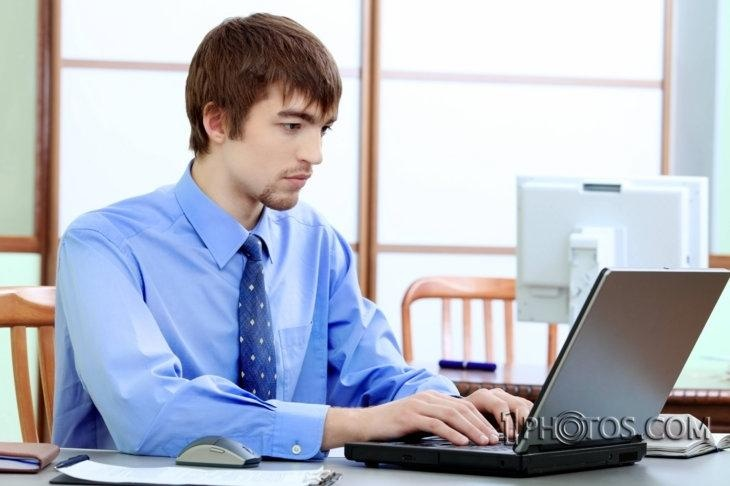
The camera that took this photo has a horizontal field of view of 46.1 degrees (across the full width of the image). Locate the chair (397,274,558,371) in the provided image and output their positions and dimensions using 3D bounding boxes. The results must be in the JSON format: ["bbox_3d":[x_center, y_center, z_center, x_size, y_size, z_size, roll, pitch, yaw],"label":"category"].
[{"bbox_3d":[0.414,0.235,3.281,0.462,0.592,0.375,0,-11,0],"label":"chair"}]

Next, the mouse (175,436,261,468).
[{"bbox_3d":[-0.344,0.465,1.927,0.131,0.049,0.083,-1,-8,6],"label":"mouse"}]

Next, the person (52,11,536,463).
[{"bbox_3d":[-0.183,0.109,2.324,1.261,1.350,0.962,1,0,9],"label":"person"}]

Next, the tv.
[{"bbox_3d":[0.640,0.100,2.526,0.359,0.329,0.199,5,-13,7],"label":"tv"}]
